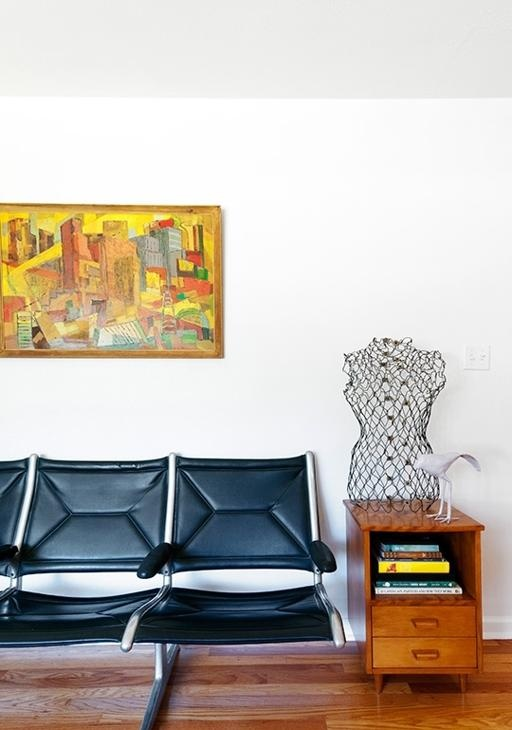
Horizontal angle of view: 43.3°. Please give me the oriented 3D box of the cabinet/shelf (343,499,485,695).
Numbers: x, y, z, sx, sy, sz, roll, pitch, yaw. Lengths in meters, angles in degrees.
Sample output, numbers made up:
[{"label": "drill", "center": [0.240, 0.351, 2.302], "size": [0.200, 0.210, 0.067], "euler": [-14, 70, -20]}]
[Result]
[{"label": "cabinet/shelf", "center": [0.459, 0.786, 2.352], "size": [0.390, 0.568, 0.632], "euler": [0, -5, 2]}]
